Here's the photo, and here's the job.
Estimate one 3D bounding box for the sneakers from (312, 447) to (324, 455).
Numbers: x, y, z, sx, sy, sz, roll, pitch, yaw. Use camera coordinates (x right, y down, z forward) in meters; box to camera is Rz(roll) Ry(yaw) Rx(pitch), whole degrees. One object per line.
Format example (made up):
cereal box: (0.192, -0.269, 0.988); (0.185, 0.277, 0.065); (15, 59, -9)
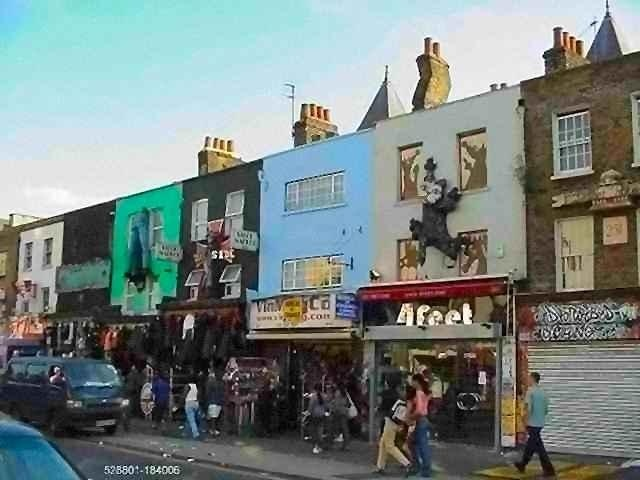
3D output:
sneakers: (-0.057, 6.272, 22.000); (0.214, 0.134, 0.324); (2, -7, -9)

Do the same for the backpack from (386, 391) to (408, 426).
backpack: (2.011, 4.387, 18.787); (0.453, 0.578, 0.533); (-4, -14, 13)
